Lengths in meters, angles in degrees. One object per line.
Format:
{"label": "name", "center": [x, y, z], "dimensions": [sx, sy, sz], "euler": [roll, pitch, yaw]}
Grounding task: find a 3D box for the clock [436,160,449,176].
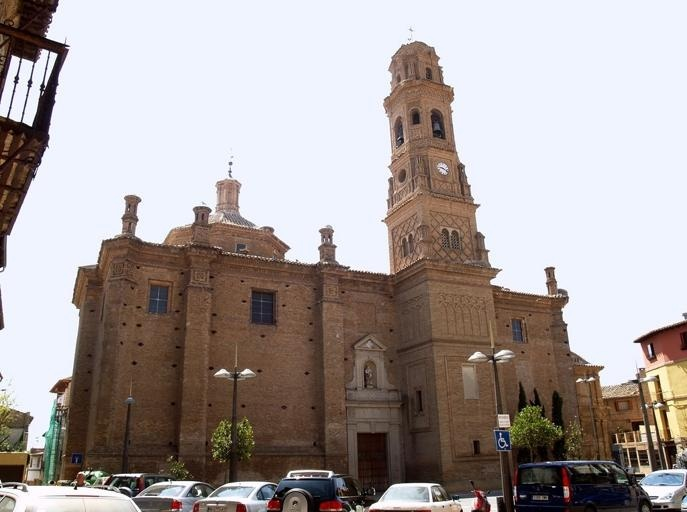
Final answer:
{"label": "clock", "center": [6.959, -6.155, 38.757], "dimensions": [1.012, 0.928, 0.231], "euler": [3, -13, -38]}
